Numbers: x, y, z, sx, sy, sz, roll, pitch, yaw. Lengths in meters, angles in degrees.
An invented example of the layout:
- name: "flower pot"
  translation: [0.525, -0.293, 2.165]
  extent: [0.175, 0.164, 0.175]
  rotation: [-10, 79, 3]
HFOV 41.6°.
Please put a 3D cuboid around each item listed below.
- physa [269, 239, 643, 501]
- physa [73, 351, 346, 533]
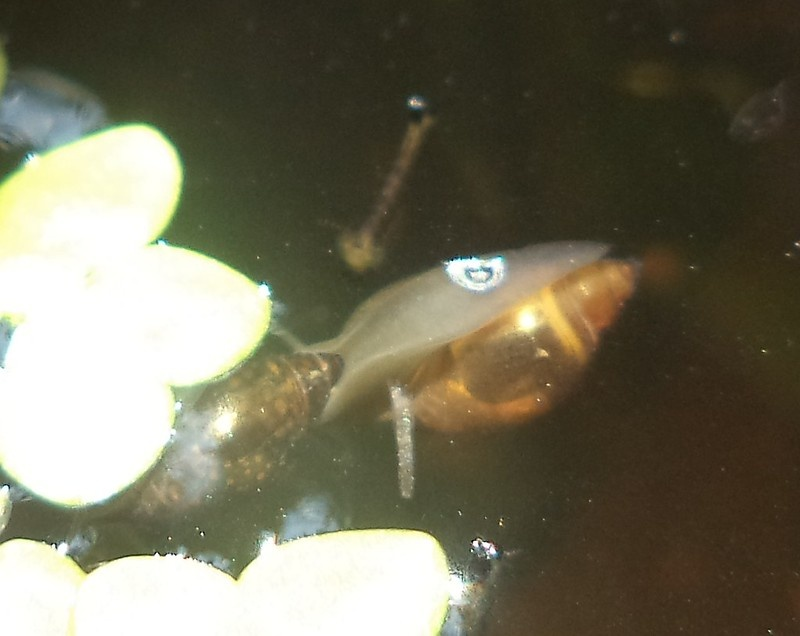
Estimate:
- name: "physa"
  translation: [0.047, 0.038, 0.918]
  extent: [0.294, 0.094, 0.196]
  rotation: [-30, 83, -4]
- name: "physa"
  translation: [-0.151, 0.101, 0.927]
  extent: [0.250, 0.089, 0.093]
  rotation: [-32, 105, -8]
